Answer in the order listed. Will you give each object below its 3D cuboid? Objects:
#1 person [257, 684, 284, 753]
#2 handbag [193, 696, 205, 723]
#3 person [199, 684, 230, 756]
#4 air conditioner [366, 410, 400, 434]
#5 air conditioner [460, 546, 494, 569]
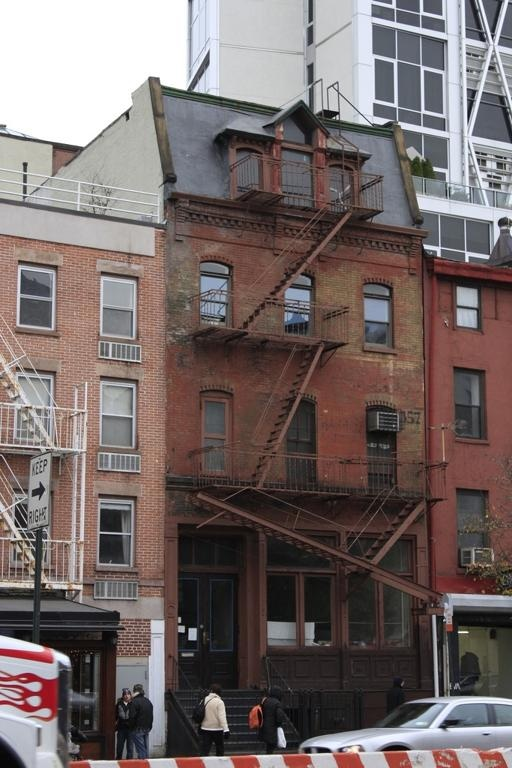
[{"bbox_3d":[0.247,5.419,23.406,0.425,1.055,0.829,-2,-16,0],"label":"person"},{"bbox_3d":[-0.916,5.319,23.483,0.179,0.381,0.445,-1,-16,-2],"label":"handbag"},{"bbox_3d":[-0.691,5.501,23.638,0.446,1.102,0.862,-1,-16,-3],"label":"person"},{"bbox_3d":[2.862,0.890,33.642,0.581,0.503,0.791,2,-2,36],"label":"air conditioner"},{"bbox_3d":[5.059,4.002,33.343,0.760,0.599,1.077,-5,-17,7],"label":"air conditioner"}]
